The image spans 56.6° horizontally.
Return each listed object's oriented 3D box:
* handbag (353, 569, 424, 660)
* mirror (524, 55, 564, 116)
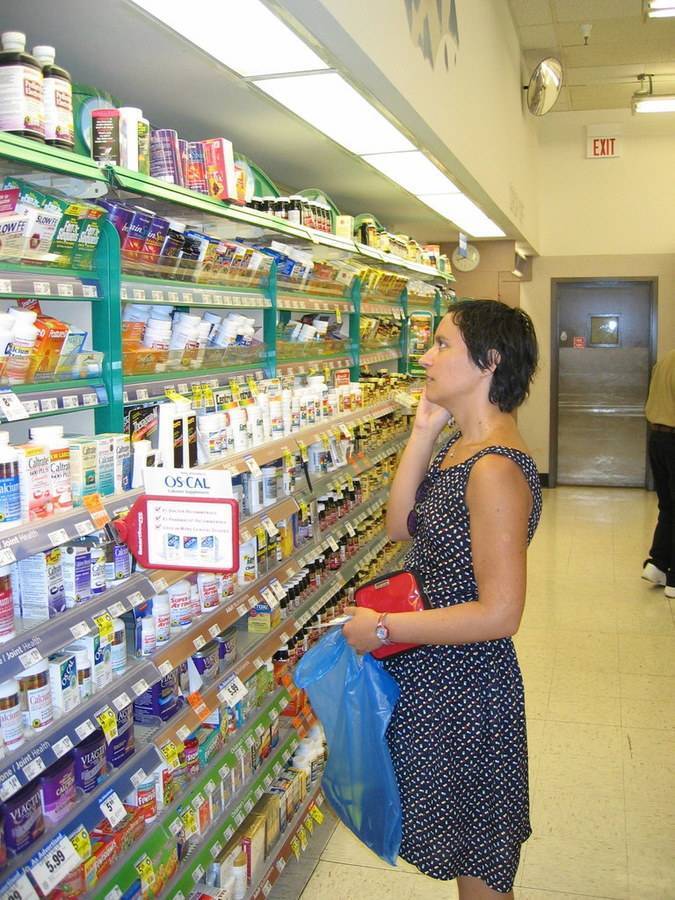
[{"bbox_3d":[0.112,0.315,1.231,0.041,0.163,0.167,6,-23,-46],"label":"handbag"},{"bbox_3d":[1.929,-3.458,5.836,0.268,0.500,0.764,-2,3,16],"label":"mirror"}]
